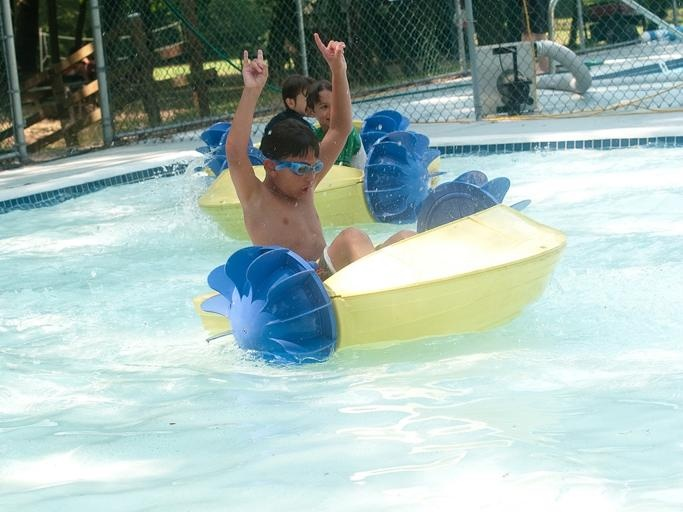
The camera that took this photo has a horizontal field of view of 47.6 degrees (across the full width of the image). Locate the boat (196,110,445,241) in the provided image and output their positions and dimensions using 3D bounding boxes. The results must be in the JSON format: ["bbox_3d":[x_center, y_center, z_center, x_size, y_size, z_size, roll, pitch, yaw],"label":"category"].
[{"bbox_3d":[0.026,-0.327,4.596,1.343,0.435,0.957,-6,-6,3],"label":"boat"}]

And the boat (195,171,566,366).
[{"bbox_3d":[0.057,0.044,2.960,1.193,0.436,1.358,-28,21,-39],"label":"boat"}]
